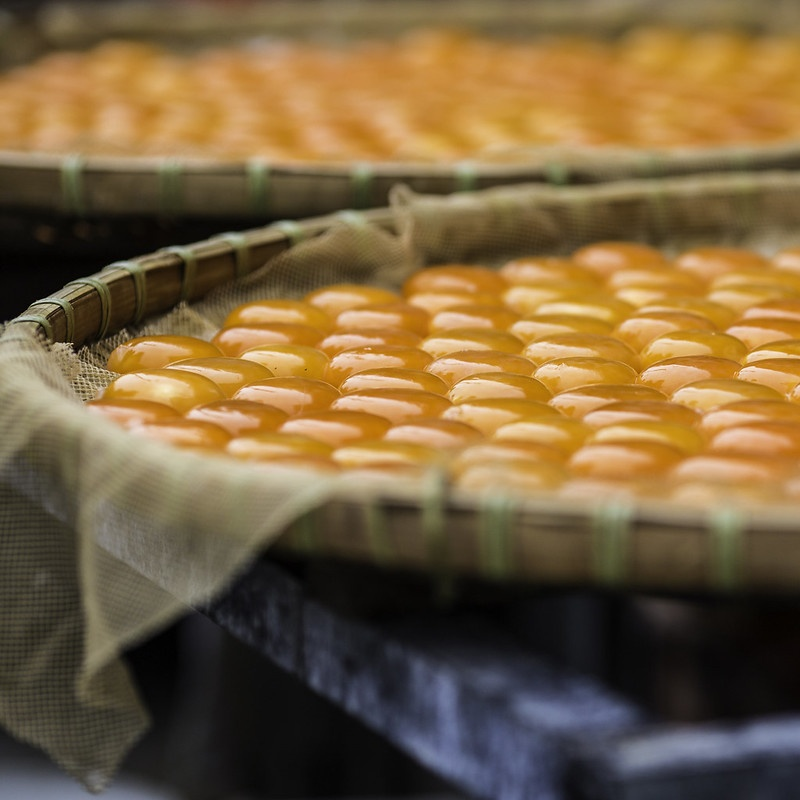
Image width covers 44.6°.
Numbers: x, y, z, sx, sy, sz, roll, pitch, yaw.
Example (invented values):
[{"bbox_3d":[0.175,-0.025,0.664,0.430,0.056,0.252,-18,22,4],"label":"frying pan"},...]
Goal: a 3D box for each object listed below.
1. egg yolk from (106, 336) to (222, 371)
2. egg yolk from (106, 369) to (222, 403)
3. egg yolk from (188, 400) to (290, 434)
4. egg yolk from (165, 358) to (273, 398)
[{"bbox_3d":[-0.163,-0.034,0.666,0.059,0.018,0.034,1,8,7],"label":"egg yolk"},{"bbox_3d":[-0.142,-0.008,0.589,0.047,0.014,0.031,3,6,-10],"label":"egg yolk"},{"bbox_3d":[-0.092,0.008,0.549,0.036,0.011,0.030,0,0,21],"label":"egg yolk"},{"bbox_3d":[-0.114,-0.018,0.622,0.050,0.014,0.039,5,9,10],"label":"egg yolk"}]
